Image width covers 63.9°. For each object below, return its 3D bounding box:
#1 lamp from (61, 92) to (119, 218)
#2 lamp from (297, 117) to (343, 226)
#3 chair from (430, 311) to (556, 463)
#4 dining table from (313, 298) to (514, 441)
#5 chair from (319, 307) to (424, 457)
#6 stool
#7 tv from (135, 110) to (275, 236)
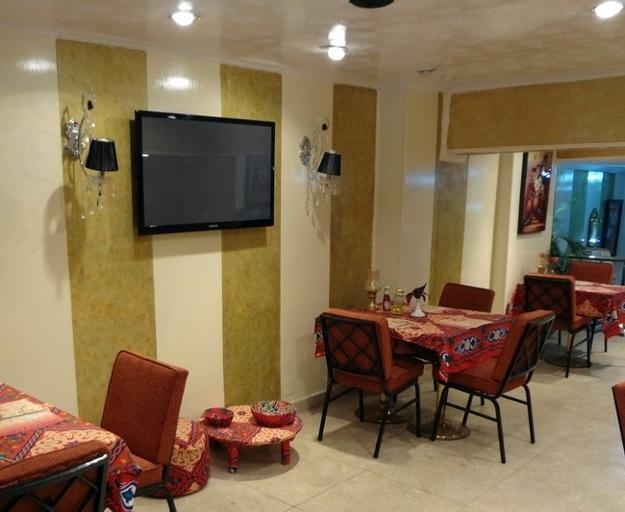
[{"bbox_3d":[-1.270,-0.572,2.875,0.296,0.715,0.199,-4,9,-28],"label":"lamp"},{"bbox_3d":[0.033,-0.666,3.974,0.278,0.691,0.319,-6,20,-42],"label":"lamp"},{"bbox_3d":[1.317,0.842,3.591,0.651,1.007,0.651,7,10,39],"label":"chair"},{"bbox_3d":[0.429,0.852,3.637,0.763,0.937,0.694,-1,4,-25],"label":"dining table"},{"bbox_3d":[0.415,0.834,3.674,0.759,0.984,0.782,-1,8,-4],"label":"chair"},{"bbox_3d":[-0.821,1.198,3.036,0.352,0.338,0.370,-1,-5,-8],"label":"stool"},{"bbox_3d":[-0.740,-0.556,3.298,0.893,0.622,0.101,-4,10,-39],"label":"tv"}]
